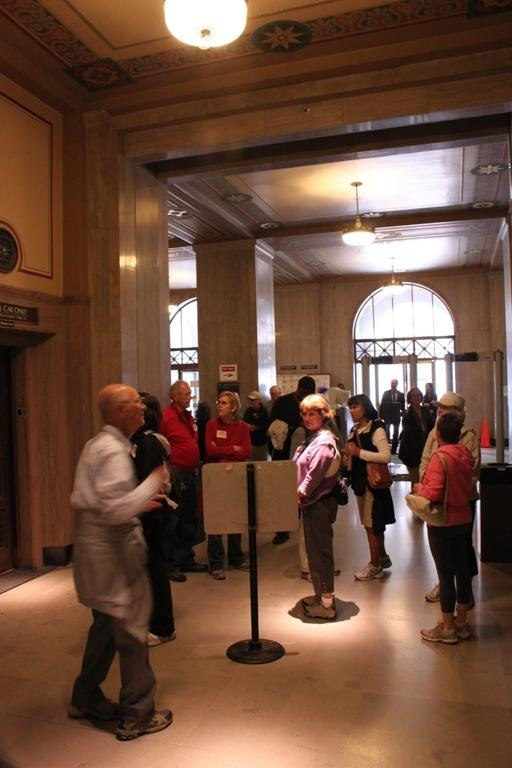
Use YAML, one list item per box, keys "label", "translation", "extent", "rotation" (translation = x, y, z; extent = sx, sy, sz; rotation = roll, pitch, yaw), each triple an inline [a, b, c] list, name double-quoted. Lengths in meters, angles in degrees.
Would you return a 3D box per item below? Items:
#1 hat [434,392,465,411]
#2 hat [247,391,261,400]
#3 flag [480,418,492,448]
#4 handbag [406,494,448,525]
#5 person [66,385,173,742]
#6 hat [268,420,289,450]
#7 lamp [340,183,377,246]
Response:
- label: "hat"
  translation: [1.325, 0.119, 4.207]
  extent: [0.212, 0.114, 0.157]
  rotation: [23, 13, 18]
- label: "hat"
  translation: [-0.009, 0.144, 7.864]
  extent: [0.097, 0.073, 0.135]
  rotation: [9, -11, 34]
- label: "flag"
  translation: [5.474, 1.201, 14.865]
  extent: [0.240, 0.657, 1.175]
  rotation: [-3, -3, 21]
- label: "handbag"
  translation: [0.945, 0.710, 3.450]
  extent: [0.209, 0.184, 0.180]
  rotation: [-2, -3, 14]
- label: "person"
  translation: [-0.574, 0.750, 2.651]
  extent: [0.411, 1.491, 0.490]
  rotation: [-1, -3, -16]
- label: "hat"
  translation: [0.211, 0.527, 6.334]
  extent: [0.118, 0.274, 0.272]
  rotation: [3, 1, -32]
- label: "lamp"
  translation: [1.532, -2.586, 9.355]
  extent: [0.627, 1.222, 0.654]
  rotation: [-1, -5, 10]
